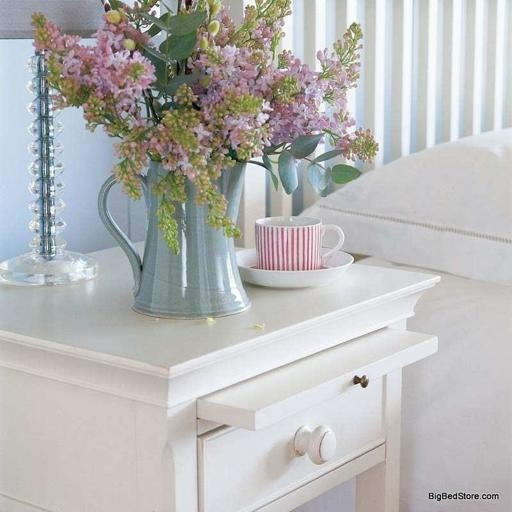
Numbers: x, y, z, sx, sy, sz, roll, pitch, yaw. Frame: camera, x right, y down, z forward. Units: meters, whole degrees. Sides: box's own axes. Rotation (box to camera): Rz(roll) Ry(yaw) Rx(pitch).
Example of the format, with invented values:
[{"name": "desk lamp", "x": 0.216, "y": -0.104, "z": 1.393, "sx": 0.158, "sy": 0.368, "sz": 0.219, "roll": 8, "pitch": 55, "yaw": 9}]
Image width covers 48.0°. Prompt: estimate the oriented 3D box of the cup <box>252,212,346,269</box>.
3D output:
[{"name": "cup", "x": 0.049, "y": -0.014, "z": 0.726, "sx": 0.095, "sy": 0.060, "sz": 0.072, "roll": -1, "pitch": -1, "yaw": -3}]
